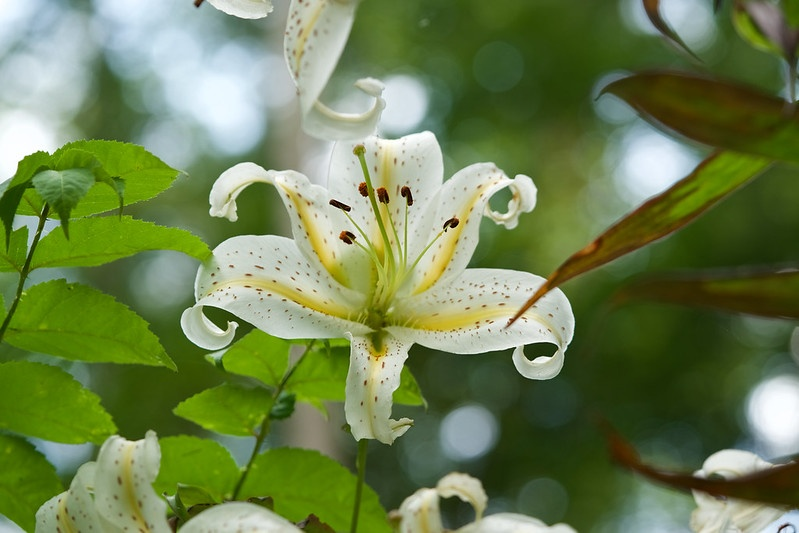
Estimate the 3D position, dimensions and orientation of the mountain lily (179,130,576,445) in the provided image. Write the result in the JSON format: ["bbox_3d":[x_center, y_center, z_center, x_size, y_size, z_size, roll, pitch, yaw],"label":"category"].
[{"bbox_3d":[-0.060,0.073,4.130,1.451,0.992,0.704,0,-49,-5],"label":"mountain lily"}]
